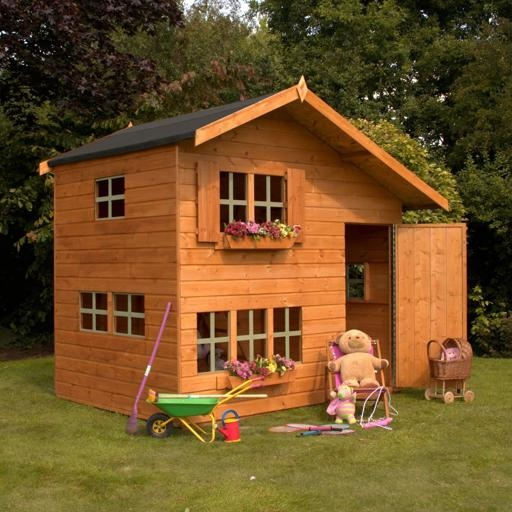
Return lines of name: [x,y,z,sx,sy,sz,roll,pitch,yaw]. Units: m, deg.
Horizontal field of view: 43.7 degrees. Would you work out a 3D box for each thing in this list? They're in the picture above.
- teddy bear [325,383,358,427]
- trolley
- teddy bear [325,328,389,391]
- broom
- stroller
teddy bear: [1.158,1.996,8.669,0.391,0.492,0.428,-1,-1,11]
trolley: [-0.612,1.919,7.889,1.486,0.648,0.542,2,-8,-5]
teddy bear: [1.439,1.470,9.224,0.870,0.800,0.694,0,-1,-22]
broom: [-1.482,1.418,8.283,0.602,1.618,0.543,1,6,-37]
stroller: [3.008,1.760,10.082,0.788,1.021,0.751,0,-3,-4]
